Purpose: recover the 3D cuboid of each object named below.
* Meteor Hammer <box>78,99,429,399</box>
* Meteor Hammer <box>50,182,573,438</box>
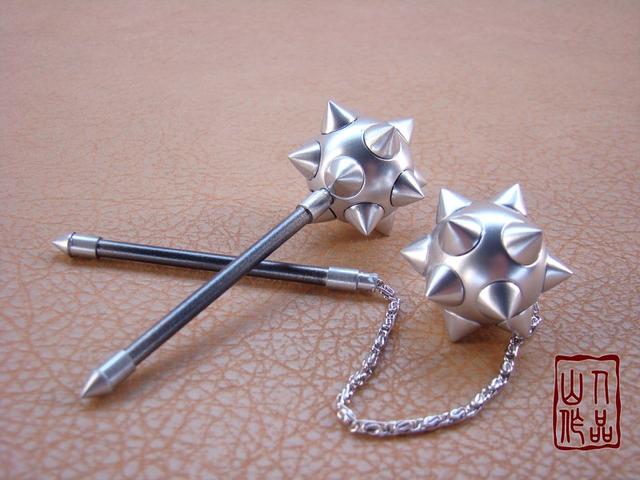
[{"bbox_3d":[-0.030,-0.012,1.274,0.915,0.283,0.299,-24,20,-7],"label":"Meteor Hammer"},{"bbox_3d":[-0.120,0.067,1.334,1.316,0.249,0.617,4,9,31],"label":"Meteor Hammer"}]
